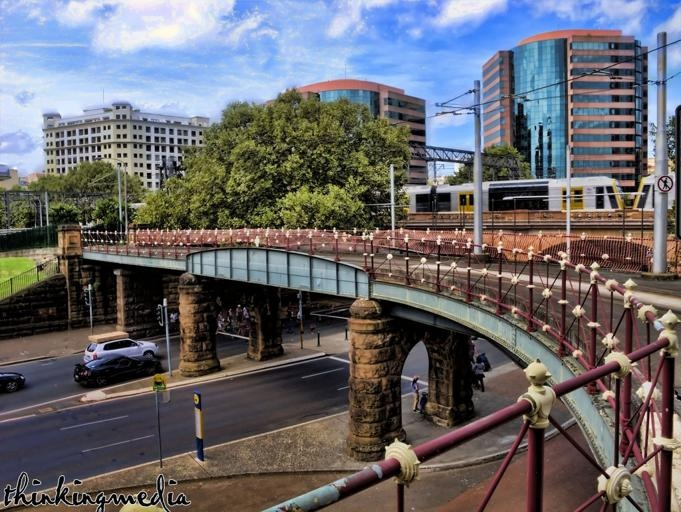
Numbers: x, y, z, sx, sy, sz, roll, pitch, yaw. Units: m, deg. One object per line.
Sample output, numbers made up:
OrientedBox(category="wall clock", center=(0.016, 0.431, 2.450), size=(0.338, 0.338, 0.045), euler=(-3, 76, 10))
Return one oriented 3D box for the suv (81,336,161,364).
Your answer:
OrientedBox(category="suv", center=(-14.083, 6.139, 45.027), size=(4.180, 1.607, 1.978), euler=(-5, 7, -37))
